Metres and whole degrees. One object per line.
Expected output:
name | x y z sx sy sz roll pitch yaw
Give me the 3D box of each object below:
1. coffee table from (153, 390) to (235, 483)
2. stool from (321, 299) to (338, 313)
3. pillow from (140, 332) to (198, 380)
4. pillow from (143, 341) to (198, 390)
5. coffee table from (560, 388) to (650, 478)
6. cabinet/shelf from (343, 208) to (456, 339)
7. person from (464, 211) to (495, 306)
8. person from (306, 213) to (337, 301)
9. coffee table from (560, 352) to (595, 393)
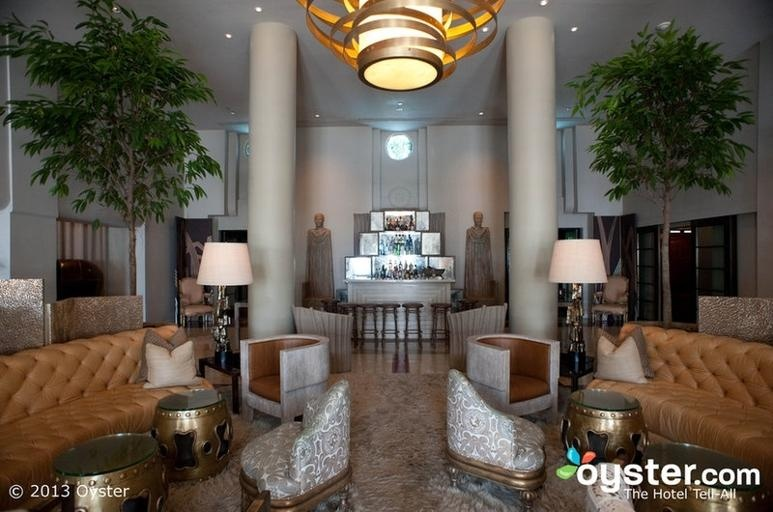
coffee table | -1.964 1.905 5.579 0.795 0.819 0.806 -1 -2 0
stool | -1.193 1.047 10.810 0.343 0.372 0.278 -1 -4 -1
pillow | -2.605 1.221 6.147 0.580 0.607 0.219 4 -20 -13
pillow | -2.603 1.326 6.126 0.514 0.464 0.209 0 -10 -18
coffee table | 2.240 1.747 5.302 0.783 0.763 0.795 1 -4 4
cabinet/shelf | 0.378 0.427 11.081 2.546 3.326 1.735 0 -6 0
person | 2.095 -0.034 11.533 0.700 1.477 1.217 -1 0 8
person | -1.581 0.012 11.926 0.870 1.757 0.681 -2 1 -35
coffee table | 2.481 1.518 6.687 0.367 0.485 0.507 4 15 33
